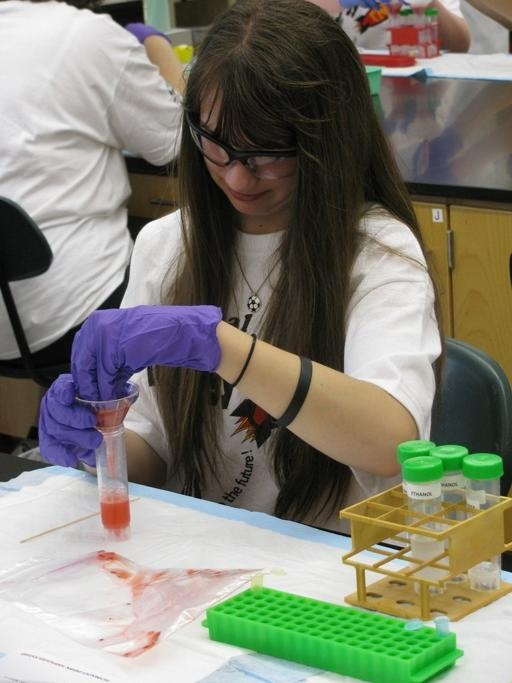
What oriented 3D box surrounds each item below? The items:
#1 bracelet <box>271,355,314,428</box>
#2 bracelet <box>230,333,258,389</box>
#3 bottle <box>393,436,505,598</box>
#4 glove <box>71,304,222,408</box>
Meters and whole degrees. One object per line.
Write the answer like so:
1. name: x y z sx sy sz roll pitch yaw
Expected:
1. bracelet: 0.052 0.066 0.822 0.019 0.075 0.069 13 1 -8
2. bracelet: -0.013 0.025 0.835 0.014 0.057 0.052 24 -14 2
3. bottle: 0.194 0.180 0.604 0.094 0.155 0.114 -6 3 11
4. glove: -0.157 0.009 0.854 0.163 0.091 0.160 2 3 1
